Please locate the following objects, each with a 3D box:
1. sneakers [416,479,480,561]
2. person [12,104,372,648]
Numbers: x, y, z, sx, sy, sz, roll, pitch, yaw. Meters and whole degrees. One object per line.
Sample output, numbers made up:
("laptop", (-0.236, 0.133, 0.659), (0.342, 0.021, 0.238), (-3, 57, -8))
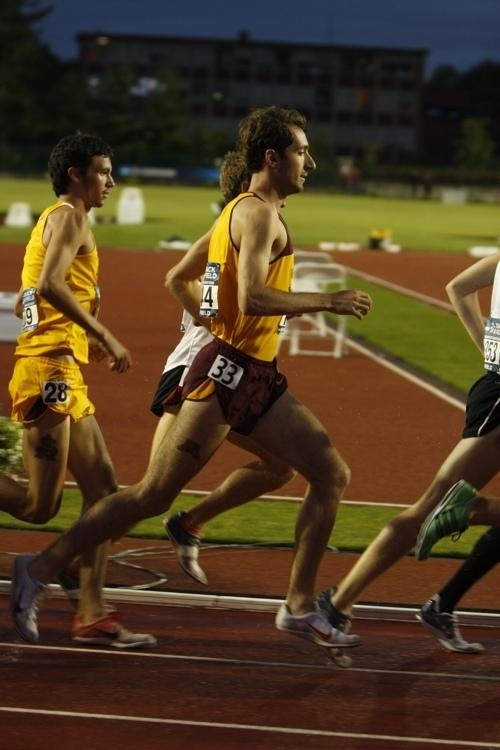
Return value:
("sneakers", (0.625, 0.447, 2.307), (0.216, 0.194, 0.137), (2, 0, -14))
("person", (-0.094, -0.013, 2.543), (1.038, 1.512, 0.735), (2, 0, 13))
